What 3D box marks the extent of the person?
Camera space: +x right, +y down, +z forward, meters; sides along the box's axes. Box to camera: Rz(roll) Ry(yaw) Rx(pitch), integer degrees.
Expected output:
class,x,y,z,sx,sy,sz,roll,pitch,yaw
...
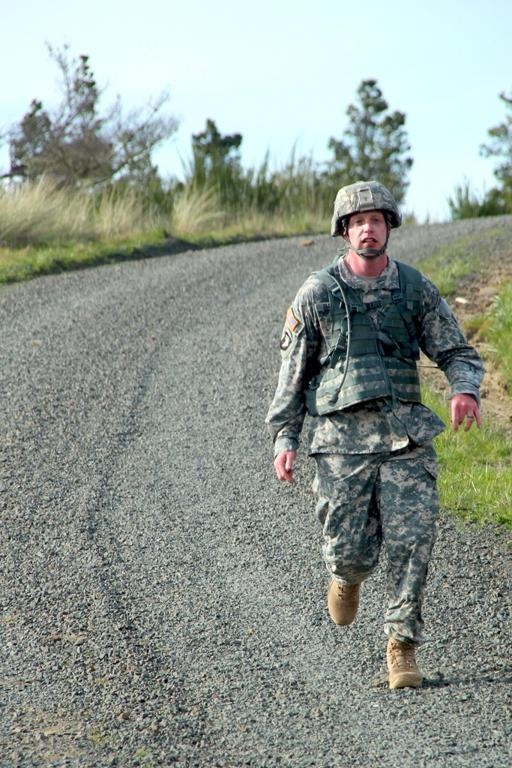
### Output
class,x,y,z,sx,sy,sz,roll,pitch,yaw
person,0.538,0.215,4.620,0.984,2.271,0.657,4,12,17

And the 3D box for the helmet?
class,x,y,z,sx,sy,sz,roll,pitch,yaw
helmet,0.510,-0.844,4.716,0.299,0.205,0.295,-8,-4,-1
